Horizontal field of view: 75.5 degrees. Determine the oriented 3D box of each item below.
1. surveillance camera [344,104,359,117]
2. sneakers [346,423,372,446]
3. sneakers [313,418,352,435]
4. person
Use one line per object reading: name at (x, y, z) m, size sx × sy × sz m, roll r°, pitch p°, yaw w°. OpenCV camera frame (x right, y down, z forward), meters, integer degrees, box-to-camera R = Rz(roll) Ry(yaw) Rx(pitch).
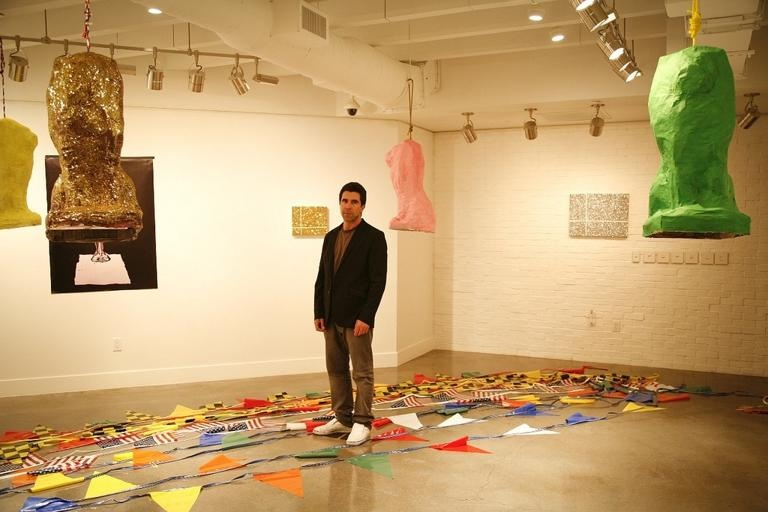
surveillance camera at (-0.417, -1.944, 6.619) m, size 0.247 × 0.185 × 0.112 m, roll 1°, pitch 12°, yaw -1°
sneakers at (-0.219, 1.579, 4.427) m, size 0.173 × 0.150 × 0.210 m, roll 0°, pitch 3°, yaw 15°
sneakers at (-0.464, 1.598, 4.666) m, size 0.387 × 0.126 × 0.140 m, roll 4°, pitch -8°, yaw -14°
person at (-0.308, 0.502, 4.497) m, size 0.653 × 2.312 × 0.397 m, roll 2°, pitch 5°, yaw 37°
